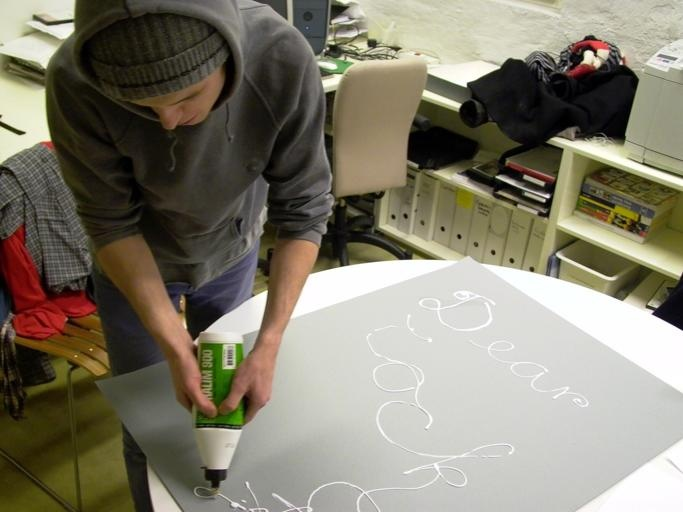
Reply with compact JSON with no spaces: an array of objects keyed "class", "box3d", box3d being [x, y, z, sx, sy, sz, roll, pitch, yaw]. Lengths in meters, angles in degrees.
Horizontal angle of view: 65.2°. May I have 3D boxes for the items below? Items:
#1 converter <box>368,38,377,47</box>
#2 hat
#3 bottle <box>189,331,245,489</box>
[{"class":"converter","box3d":[0.179,-1.235,3.097,0.045,0.045,0.047,-11,31,-28]},{"class":"hat","box3d":[-0.280,-0.304,0.800,0.151,0.088,0.126,-28,46,-14]},{"class":"bottle","box3d":[-0.235,0.292,1.051,0.103,0.219,0.219,-5,35,-11]}]
